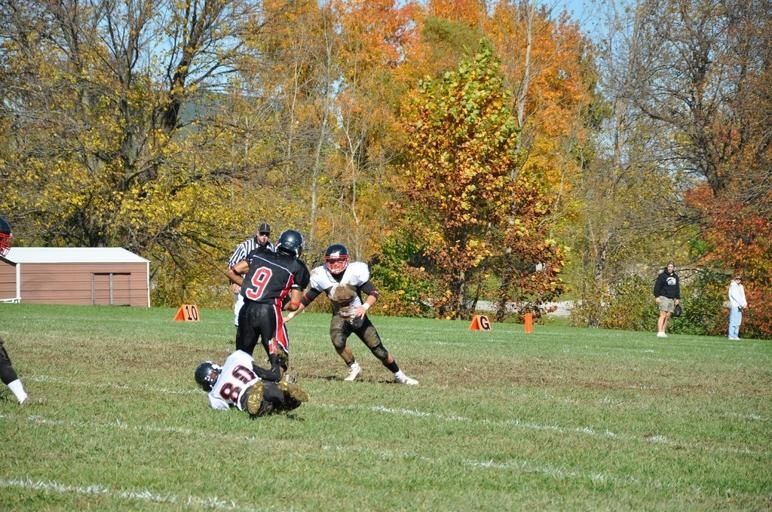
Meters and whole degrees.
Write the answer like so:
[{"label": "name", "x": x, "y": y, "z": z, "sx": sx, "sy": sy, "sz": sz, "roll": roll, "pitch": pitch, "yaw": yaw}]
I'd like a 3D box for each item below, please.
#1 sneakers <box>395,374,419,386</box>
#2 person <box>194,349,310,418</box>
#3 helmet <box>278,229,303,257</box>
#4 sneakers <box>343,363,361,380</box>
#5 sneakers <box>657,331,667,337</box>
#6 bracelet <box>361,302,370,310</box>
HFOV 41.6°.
[{"label": "sneakers", "x": 0.523, "y": 3.003, "z": 24.400, "sx": 0.442, "sy": 0.180, "sz": 0.255, "roll": 6, "pitch": 7, "yaw": 14}, {"label": "person", "x": -3.019, "y": 2.866, "z": 22.137, "sx": 1.929, "sy": 1.396, "sz": 0.774, "roll": 16, "pitch": -41, "yaw": 9}, {"label": "helmet", "x": -2.237, "y": -0.305, "z": 23.495, "sx": 0.471, "sy": 0.517, "sz": 0.631, "roll": 33, "pitch": -10, "yaw": -32}, {"label": "sneakers", "x": -0.769, "y": 2.864, "z": 24.616, "sx": 0.198, "sy": 0.590, "sz": 0.257, "roll": -5, "pitch": -46, "yaw": 39}, {"label": "sneakers", "x": 9.495, "y": 2.731, "z": 34.976, "sx": 0.206, "sy": 0.163, "sz": 0.371, "roll": -1, "pitch": -4, "yaw": -14}, {"label": "bracelet", "x": -0.485, "y": 1.217, "z": 24.274, "sx": 0.146, "sy": 0.107, "sz": 0.148, "roll": 0, "pitch": 4, "yaw": 23}]
